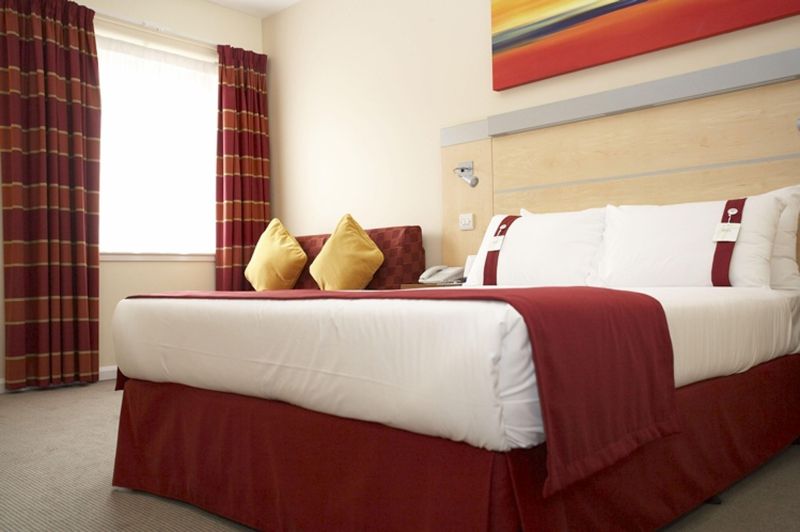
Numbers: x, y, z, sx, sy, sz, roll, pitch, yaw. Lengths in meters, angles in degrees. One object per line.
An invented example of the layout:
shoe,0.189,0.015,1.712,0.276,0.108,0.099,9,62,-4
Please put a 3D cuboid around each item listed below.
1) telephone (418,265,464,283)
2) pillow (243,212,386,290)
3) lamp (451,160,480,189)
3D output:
telephone,0.334,0.074,4.165,0.278,0.117,0.319,-5,6,-41
pillow,-0.822,-0.121,4.855,1.450,0.679,0.429,2,6,38
lamp,0.533,-0.766,4.383,0.096,0.220,0.266,-6,6,-39
